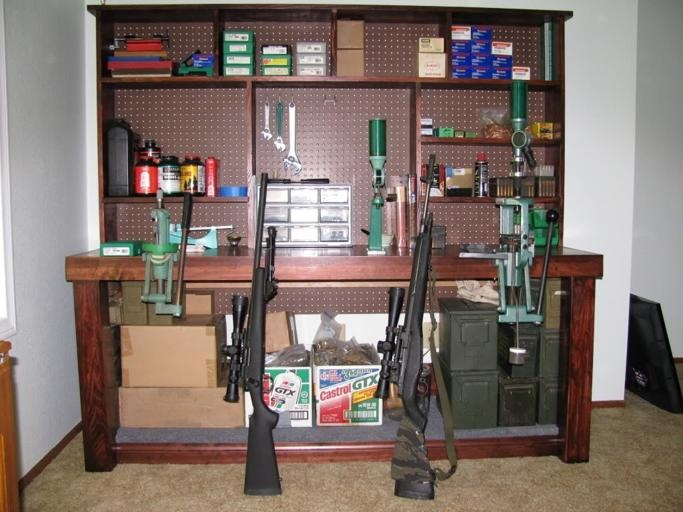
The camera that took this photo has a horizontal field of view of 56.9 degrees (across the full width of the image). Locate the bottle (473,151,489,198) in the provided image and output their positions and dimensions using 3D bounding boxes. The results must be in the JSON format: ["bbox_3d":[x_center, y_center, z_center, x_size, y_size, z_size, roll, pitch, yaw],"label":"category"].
[{"bbox_3d":[0.969,-0.541,4.369,0.103,0.251,0.105,-2,7,0],"label":"bottle"}]

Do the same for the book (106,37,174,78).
[{"bbox_3d":[-1.374,-1.340,4.276,0.443,0.297,0.346,-3,7,-9],"label":"book"}]

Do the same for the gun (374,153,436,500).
[{"bbox_3d":[0.377,0.422,3.492,0.477,1.934,0.270,-9,10,-43],"label":"gun"}]
